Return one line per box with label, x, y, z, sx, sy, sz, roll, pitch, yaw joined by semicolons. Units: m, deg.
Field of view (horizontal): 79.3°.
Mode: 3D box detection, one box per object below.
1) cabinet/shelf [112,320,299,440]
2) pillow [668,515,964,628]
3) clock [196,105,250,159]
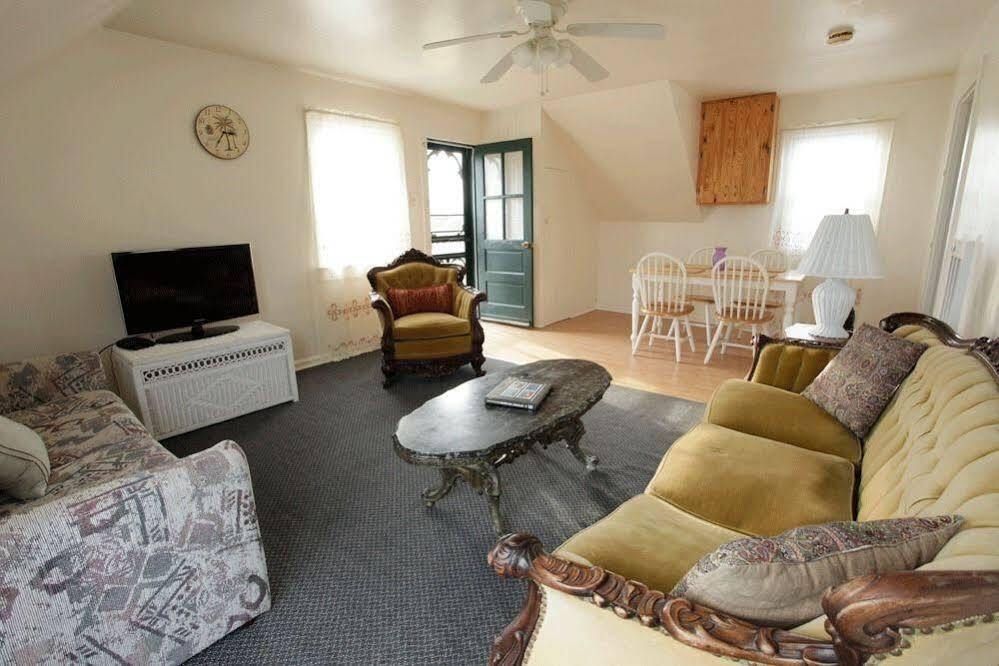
cabinet/shelf;-2.247;0.511;4.687;0.761;0.820;1.346;19;30;40
pillow;1.127;1.055;2.376;0.946;0.375;0.403;-9;26;-9
clock;-2.256;-1.634;4.876;0.039;0.389;0.378;11;36;32
